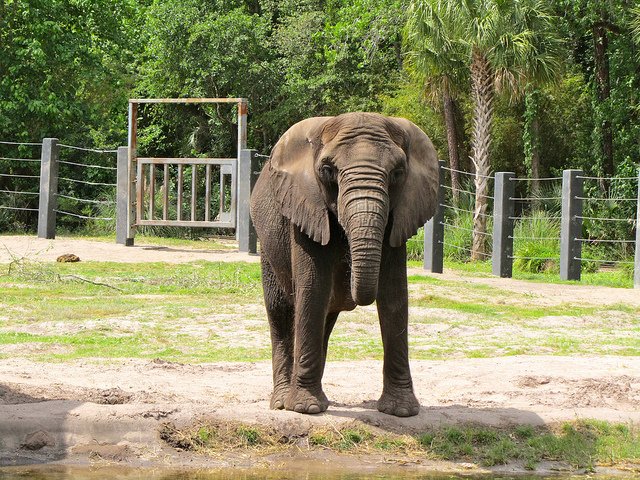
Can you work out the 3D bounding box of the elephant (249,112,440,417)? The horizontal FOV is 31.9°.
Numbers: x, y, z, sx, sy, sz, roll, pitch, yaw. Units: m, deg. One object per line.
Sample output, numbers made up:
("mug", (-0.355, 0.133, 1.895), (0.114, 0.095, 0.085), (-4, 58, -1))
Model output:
("elephant", (0.256, 0.418, 15.709), (2.184, 4.111, 4.864), (-1, -8, -14))
